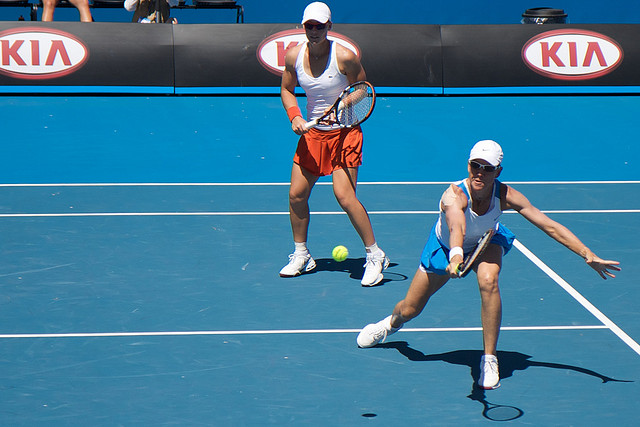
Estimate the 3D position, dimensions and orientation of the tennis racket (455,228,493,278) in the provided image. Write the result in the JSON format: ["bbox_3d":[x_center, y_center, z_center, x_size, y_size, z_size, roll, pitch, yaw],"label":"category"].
[{"bbox_3d":[1.507,0.370,8.135,0.090,0.232,0.699,51,29,3],"label":"tennis racket"}]

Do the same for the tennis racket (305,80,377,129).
[{"bbox_3d":[0.292,-1.292,10.198,0.872,0.579,0.481,-5,20,-16],"label":"tennis racket"}]

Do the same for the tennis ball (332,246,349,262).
[{"bbox_3d":[0.268,0.524,11.035,0.193,0.221,0.227,1,19,-1],"label":"tennis ball"}]
